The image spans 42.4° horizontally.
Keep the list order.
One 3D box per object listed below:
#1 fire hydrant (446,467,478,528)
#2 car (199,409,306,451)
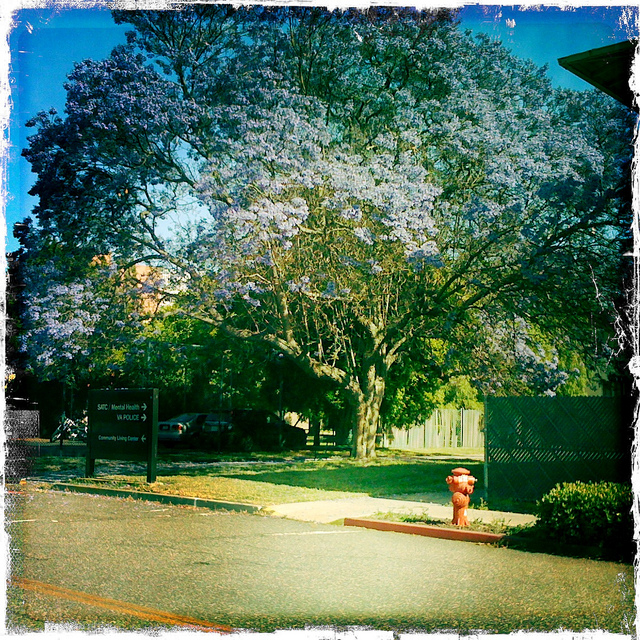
[{"bbox_3d":[2.205,2.740,12.829,0.419,0.865,0.750,1,-8,10],"label":"fire hydrant"},{"bbox_3d":[-2.979,4.306,32.186,3.388,1.402,1.950,-1,-6,6],"label":"car"}]
